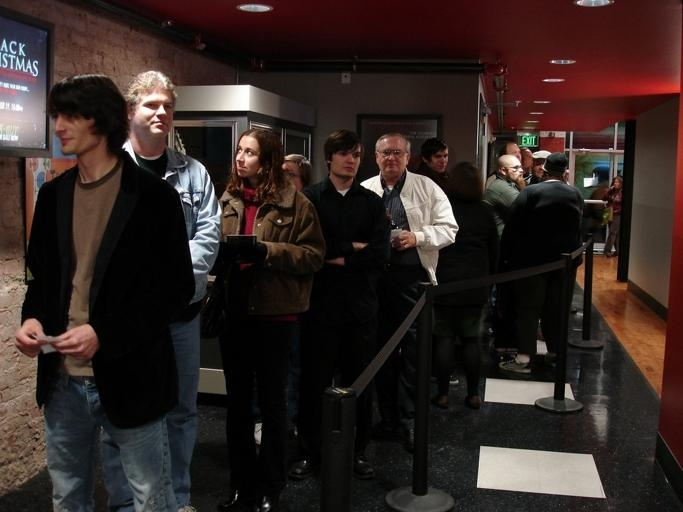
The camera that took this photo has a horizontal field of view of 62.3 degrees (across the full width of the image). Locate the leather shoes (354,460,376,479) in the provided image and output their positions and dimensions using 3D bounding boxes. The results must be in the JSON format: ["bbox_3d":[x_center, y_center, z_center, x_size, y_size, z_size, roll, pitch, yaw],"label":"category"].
[{"bbox_3d":[0.137,1.269,3.388,0.153,0.108,0.091,-1,8,-16],"label":"leather shoes"}]

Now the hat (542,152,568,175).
[{"bbox_3d":[2.048,-0.871,5.397,0.171,0.134,0.247,2,10,5],"label":"hat"}]

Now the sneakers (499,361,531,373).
[{"bbox_3d":[1.651,1.056,5.397,0.281,0.123,0.113,4,2,14],"label":"sneakers"}]
